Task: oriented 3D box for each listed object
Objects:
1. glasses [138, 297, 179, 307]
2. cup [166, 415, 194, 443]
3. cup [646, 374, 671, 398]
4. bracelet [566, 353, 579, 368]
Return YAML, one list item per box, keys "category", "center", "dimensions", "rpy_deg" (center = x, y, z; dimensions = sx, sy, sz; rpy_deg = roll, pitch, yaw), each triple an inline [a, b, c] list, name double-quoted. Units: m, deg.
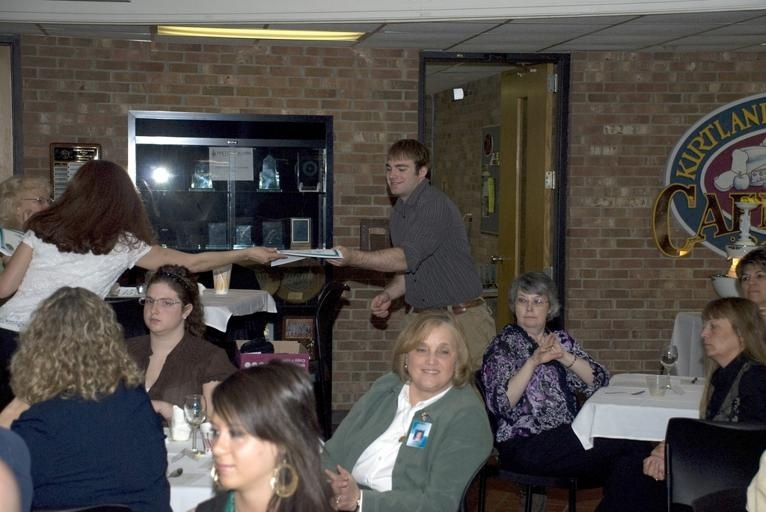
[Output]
- category: "glasses"
  center: [-1.322, 0.269, 4.516]
  dimensions: [0.205, 0.052, 0.062]
  rpy_deg: [1, 1, 10]
- category: "cup"
  center: [-1.093, 0.931, 4.069]
  dimensions: [0.140, 0.152, 0.138]
  rpy_deg: [1, -4, 0]
- category: "cup"
  center: [1.802, 0.850, 4.980]
  dimensions: [0.139, 0.111, 0.129]
  rpy_deg: [2, -4, 0]
- category: "bracelet"
  center: [1.195, 0.659, 4.808]
  dimensions: [0.021, 0.068, 0.072]
  rpy_deg: [19, 38, 16]
